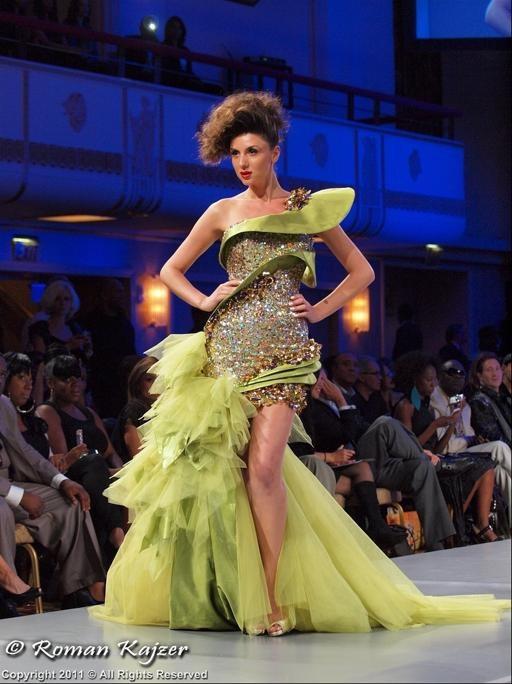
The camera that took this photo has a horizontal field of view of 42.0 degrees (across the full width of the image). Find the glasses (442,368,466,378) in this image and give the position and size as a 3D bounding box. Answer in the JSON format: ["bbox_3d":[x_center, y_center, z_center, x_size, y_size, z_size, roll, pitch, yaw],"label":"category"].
[{"bbox_3d":[1.387,0.210,4.716,0.105,0.029,0.103,14,-24,-38],"label":"glasses"}]

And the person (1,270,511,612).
[{"bbox_3d":[-0.013,0.421,2.173,1.582,1.224,0.945,0,-6,-2],"label":"person"}]

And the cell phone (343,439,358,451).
[{"bbox_3d":[0.552,0.609,3.906,0.078,0.063,0.133,-7,-18,32],"label":"cell phone"}]
